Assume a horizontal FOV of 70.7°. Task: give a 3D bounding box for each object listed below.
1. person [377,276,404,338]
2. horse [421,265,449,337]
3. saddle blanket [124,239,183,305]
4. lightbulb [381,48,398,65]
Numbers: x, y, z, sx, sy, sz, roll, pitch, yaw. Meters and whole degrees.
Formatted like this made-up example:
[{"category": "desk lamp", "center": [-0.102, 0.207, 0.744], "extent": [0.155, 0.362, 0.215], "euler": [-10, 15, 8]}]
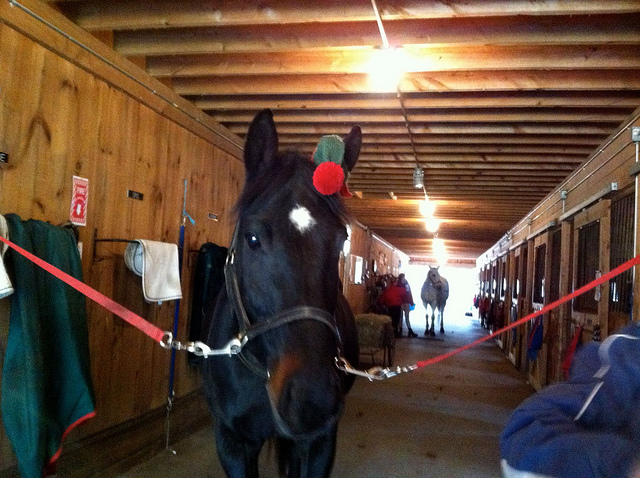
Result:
[{"category": "person", "center": [1.852, 1.813, 11.429], "extent": [0.547, 1.402, 1.505], "euler": [2, -4, 11]}, {"category": "horse", "center": [3.639, 1.844, 14.263], "extent": [0.781, 2.354, 1.095], "euler": [1, -1, 10]}, {"category": "saddle blanket", "center": [-1.273, 0.238, 3.517], "extent": [0.344, 0.521, 0.314], "euler": [8, 5, 1]}, {"category": "lightbulb", "center": [0.534, -1.409, 3.459], "extent": [0.125, 0.090, 0.228], "euler": [2, -4, 12]}]
